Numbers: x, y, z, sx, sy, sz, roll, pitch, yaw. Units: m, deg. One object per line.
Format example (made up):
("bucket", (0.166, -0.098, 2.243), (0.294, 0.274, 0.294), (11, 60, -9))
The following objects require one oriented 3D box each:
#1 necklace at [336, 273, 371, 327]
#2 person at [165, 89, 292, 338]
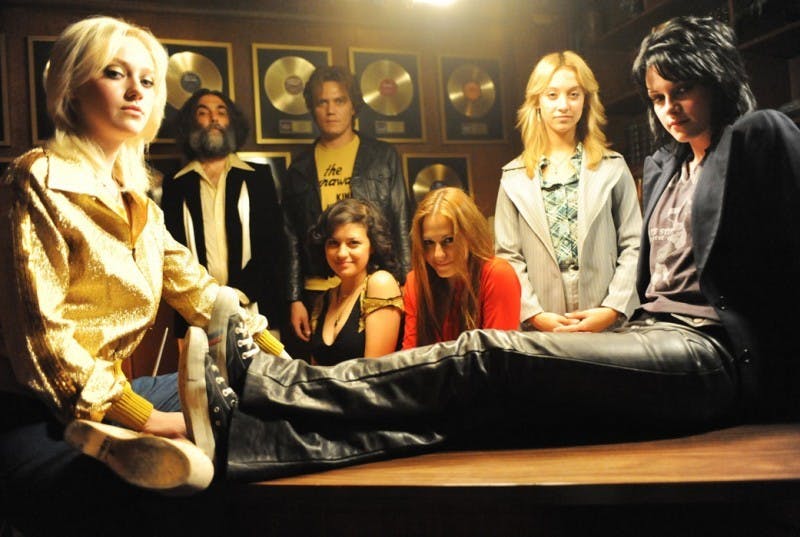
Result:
("necklace", (-0.218, 0.155, 3.111), (0.157, 0.244, 0.065), (8, -15, -7))
("person", (-1.042, -0.137, 4.082), (0.791, 1.838, 0.439), (2, 13, 9))
